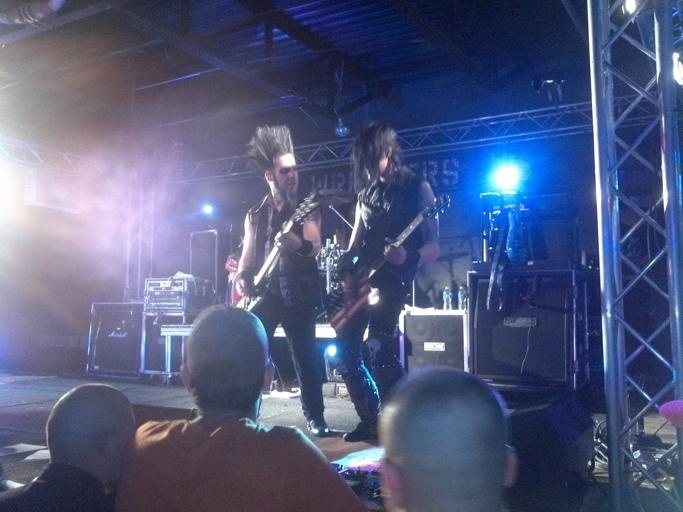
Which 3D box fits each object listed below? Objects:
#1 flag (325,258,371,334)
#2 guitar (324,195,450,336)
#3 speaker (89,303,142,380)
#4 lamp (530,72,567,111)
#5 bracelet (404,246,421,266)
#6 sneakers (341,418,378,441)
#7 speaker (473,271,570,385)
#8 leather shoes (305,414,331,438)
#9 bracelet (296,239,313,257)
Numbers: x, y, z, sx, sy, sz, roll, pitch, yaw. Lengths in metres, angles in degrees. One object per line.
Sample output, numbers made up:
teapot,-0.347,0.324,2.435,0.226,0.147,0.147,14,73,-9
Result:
flag,0.051,0.297,3.906,0.117,0.393,0.394,15,-56,-39
guitar,0.329,0.046,3.930,0.798,0.991,0.304,1,-7,-3
speaker,-3.557,1.444,9.460,1.123,1.223,0.692,0,-7,19
lamp,3.207,-2.574,8.752,0.393,0.528,0.526,1,-24,29
bracelet,0.504,0.009,3.942,0.117,0.124,0.026,-6,-15,-18
sneakers,0.150,1.193,3.872,0.284,0.135,0.101,8,-22,-17
speaker,1.691,0.754,5.278,0.913,1.002,0.719,-2,-20,22
leather shoes,-0.164,1.208,4.005,0.079,0.118,0.245,4,-18,-25
bracelet,-0.262,-0.055,4.078,0.091,0.101,0.099,-2,-7,16
